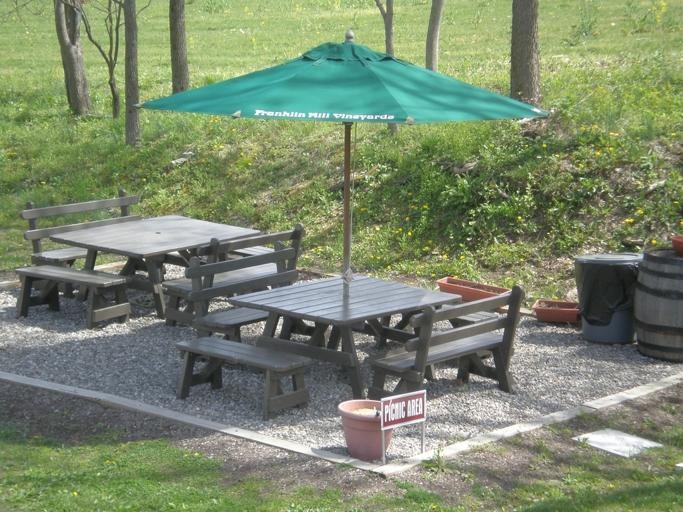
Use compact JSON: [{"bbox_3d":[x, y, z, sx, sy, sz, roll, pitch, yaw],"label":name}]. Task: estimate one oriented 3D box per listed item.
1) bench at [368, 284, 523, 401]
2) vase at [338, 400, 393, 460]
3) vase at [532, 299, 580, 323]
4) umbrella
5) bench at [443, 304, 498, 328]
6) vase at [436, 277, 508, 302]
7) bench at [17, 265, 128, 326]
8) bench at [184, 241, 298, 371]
[{"bbox_3d":[1.335,1.183,13.260,0.898,1.424,2.154,13,15,43],"label":"bench"},{"bbox_3d":[0.317,2.051,12.137,0.685,0.527,0.680,1,1,42],"label":"vase"},{"bbox_3d":[3.093,0.826,15.183,0.458,0.155,0.348,8,12,43],"label":"vase"},{"bbox_3d":[-0.136,-1.733,13.321,3.253,2.309,3.307,-5,13,-21],"label":"umbrella"},{"bbox_3d":[1.781,0.819,13.920,0.460,0.097,0.468,-14,19,-38],"label":"bench"},{"bbox_3d":[1.860,0.474,15.230,0.845,0.209,0.415,9,17,23],"label":"vase"},{"bbox_3d":[-3.821,0.497,15.206,1.929,0.800,0.760,9,12,34],"label":"bench"},{"bbox_3d":[-1.490,0.659,14.253,1.332,0.983,1.509,15,20,43],"label":"bench"}]
